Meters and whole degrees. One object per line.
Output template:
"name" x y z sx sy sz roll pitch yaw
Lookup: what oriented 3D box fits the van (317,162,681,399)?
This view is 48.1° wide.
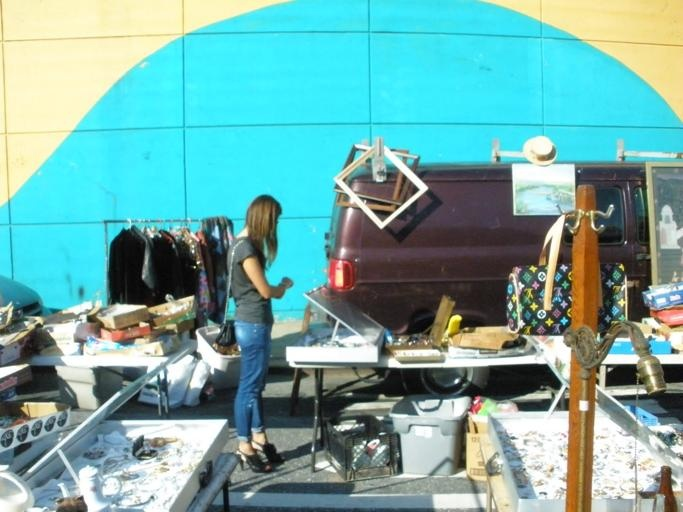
"van" 1.616 0.219 9.367 3.377 2.058 2.225 -2 0 -6

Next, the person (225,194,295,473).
"person" -0.798 0.772 7.422 0.555 2.689 0.429 -2 3 -9

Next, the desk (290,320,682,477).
"desk" 0.960 1.300 7.748 3.425 1.457 1.798 -1 4 22

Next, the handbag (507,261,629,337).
"handbag" 1.969 0.369 6.816 0.897 0.616 0.570 -1 3 2

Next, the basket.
"basket" 0.192 1.877 7.460 0.460 0.385 0.676 -2 -7 -7

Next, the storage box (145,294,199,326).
"storage box" -1.770 0.587 7.917 0.314 0.159 0.333 -20 7 15
